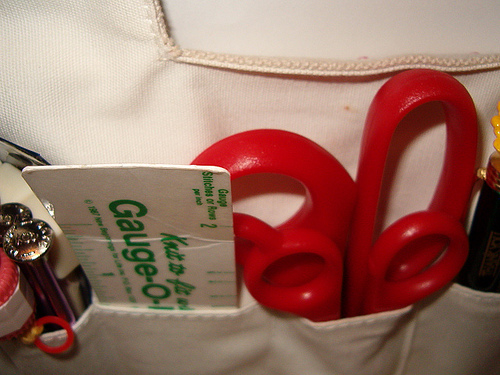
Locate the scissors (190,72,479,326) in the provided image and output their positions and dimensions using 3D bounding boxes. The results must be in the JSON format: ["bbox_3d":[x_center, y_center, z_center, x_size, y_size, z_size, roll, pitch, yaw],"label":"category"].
[{"bbox_3d":[0.126,0.038,0.635,0.379,0.380,0.128,-6,32,-7],"label":"scissors"}]
